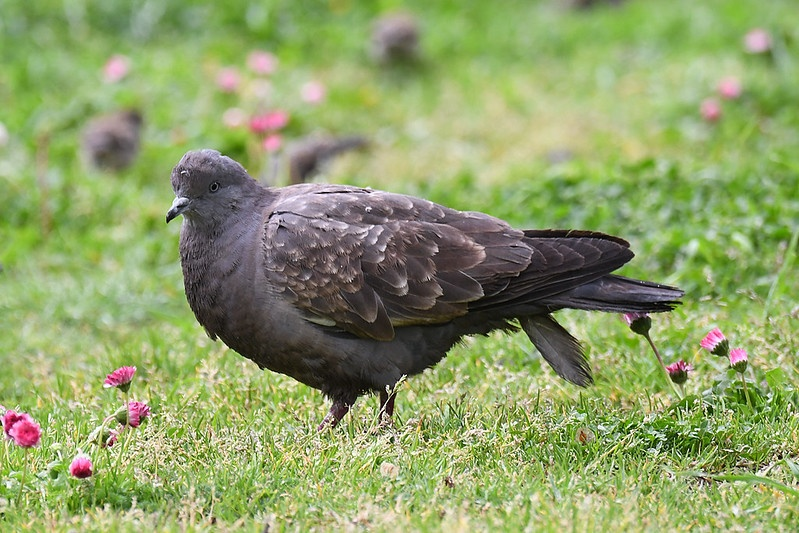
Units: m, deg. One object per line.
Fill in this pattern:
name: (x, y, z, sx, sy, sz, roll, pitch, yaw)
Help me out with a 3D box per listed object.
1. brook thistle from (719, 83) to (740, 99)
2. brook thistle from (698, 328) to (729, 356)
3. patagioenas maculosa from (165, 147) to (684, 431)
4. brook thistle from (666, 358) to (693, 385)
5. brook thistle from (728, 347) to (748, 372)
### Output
brook thistle: (2.809, -1.498, 7.586, 0.166, 0.165, 0.163, -2, 50, 26)
brook thistle: (1.711, 0.433, 4.868, 0.115, 0.171, 0.149, -48, 54, 25)
patagioenas maculosa: (-0.385, 0.073, 5.990, 3.810, 1.223, 1.951, -6, 89, 8)
brook thistle: (1.543, 0.584, 4.933, 0.147, 0.142, 0.110, -1, 92, 17)
brook thistle: (1.832, 0.517, 4.813, 0.084, 0.149, 0.123, -10, 48, 21)
